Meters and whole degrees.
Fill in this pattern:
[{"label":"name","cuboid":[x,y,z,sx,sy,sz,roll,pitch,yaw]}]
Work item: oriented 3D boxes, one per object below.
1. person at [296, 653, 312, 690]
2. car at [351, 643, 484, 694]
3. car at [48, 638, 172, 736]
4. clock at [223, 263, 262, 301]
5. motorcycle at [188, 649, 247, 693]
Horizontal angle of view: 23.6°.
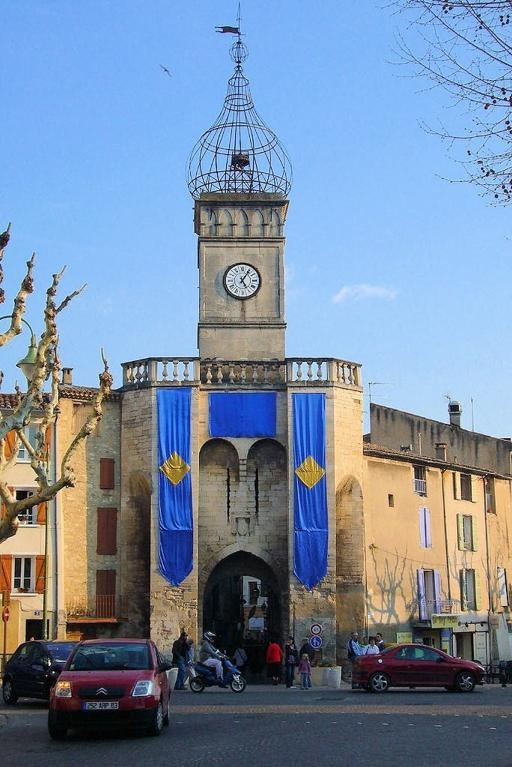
[{"label":"person","cuboid":[1.110,6.689,28.738,0.217,0.812,0.660,-2,-15,6]},{"label":"car","cuboid":[3.298,5.944,25.826,2.203,0.961,1.173,-2,-9,-3]},{"label":"car","cuboid":[-1.847,3.819,15.598,1.344,1.304,1.743,-4,-16,9]},{"label":"clock","cuboid":[-0.473,-3.263,40.010,0.774,0.852,0.085,-28,-12,0]},{"label":"motorcycle","cuboid":[-0.874,6.232,26.559,1.141,0.876,0.669,-2,-15,3]}]
